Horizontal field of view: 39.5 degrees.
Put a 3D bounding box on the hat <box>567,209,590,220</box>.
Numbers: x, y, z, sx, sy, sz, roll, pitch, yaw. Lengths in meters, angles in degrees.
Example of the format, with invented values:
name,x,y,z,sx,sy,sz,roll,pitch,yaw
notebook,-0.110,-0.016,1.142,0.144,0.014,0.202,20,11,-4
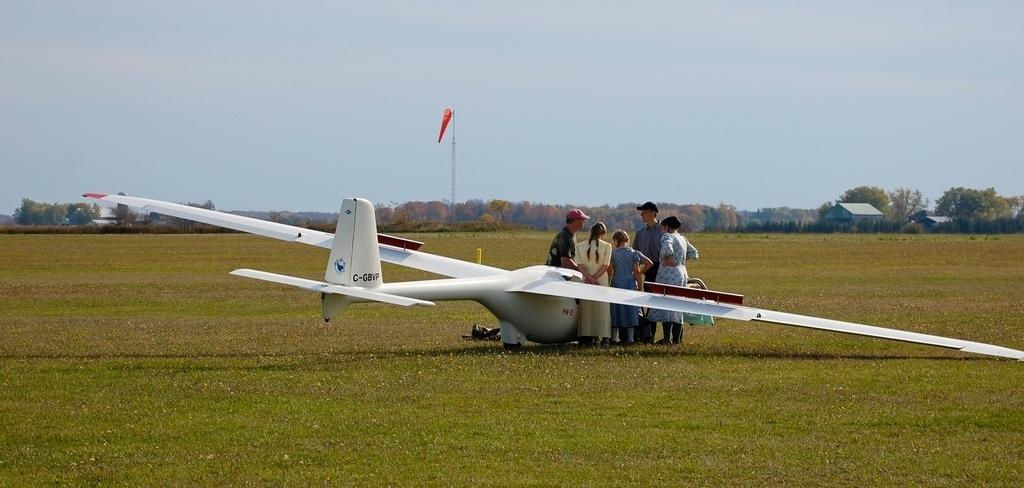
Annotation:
name,x,y,z,sx,sy,sz,roll,pitch,yaw
hat,2.791,-1.244,60.481,0.783,0.224,0.469,-2,7,-12
